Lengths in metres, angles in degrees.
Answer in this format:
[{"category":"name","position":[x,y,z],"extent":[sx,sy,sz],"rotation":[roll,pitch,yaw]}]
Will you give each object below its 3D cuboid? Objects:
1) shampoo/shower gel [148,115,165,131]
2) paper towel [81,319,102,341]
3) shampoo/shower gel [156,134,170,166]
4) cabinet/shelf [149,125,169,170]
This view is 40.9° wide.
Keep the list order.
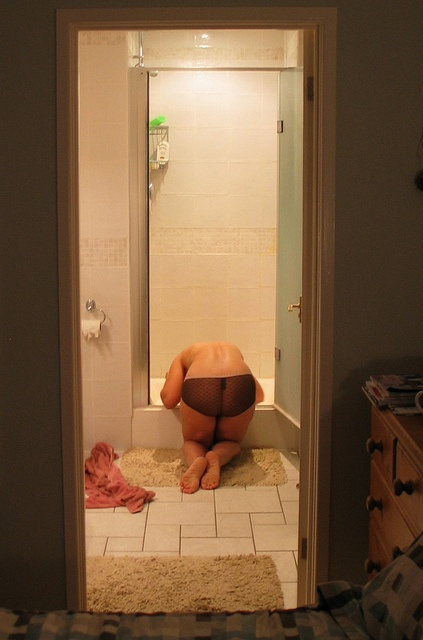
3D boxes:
[{"category":"shampoo/shower gel","position":[-0.365,-1.340,3.836],"extent":[0.152,0.092,0.104],"rotation":[-4,10,-24]},{"category":"paper towel","position":[-0.684,0.063,3.194],"extent":[0.113,0.125,0.044],"rotation":[2,-9,-17]},{"category":"shampoo/shower gel","position":[-0.332,-1.151,3.876],"extent":[0.093,0.181,0.135],"rotation":[-1,9,-6]},{"category":"cabinet/shelf","position":[-0.372,-1.176,3.984],"extent":[0.172,0.318,0.328],"rotation":[2,5,-7]}]
